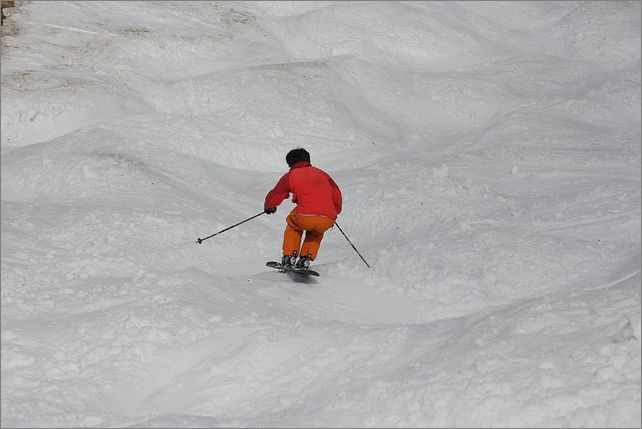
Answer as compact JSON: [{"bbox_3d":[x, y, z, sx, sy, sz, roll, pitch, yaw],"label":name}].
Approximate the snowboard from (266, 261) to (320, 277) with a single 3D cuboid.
[{"bbox_3d":[-0.881,1.640,23.730,0.566,1.941,0.189,-8,103,-49],"label":"snowboard"}]
